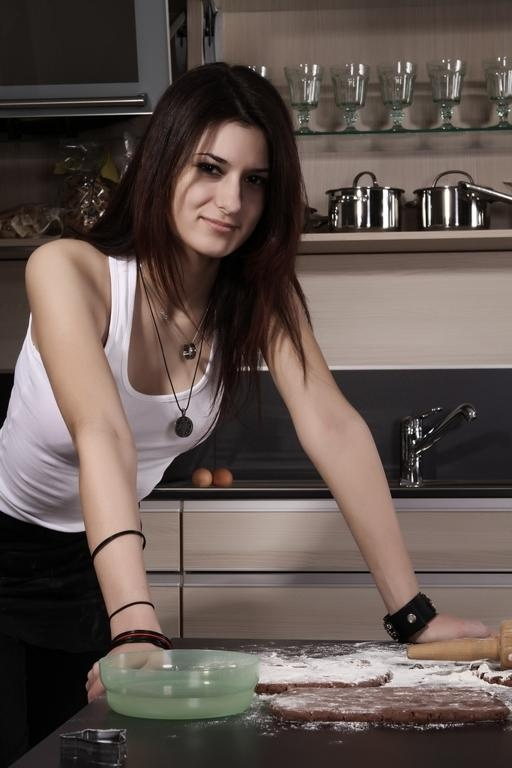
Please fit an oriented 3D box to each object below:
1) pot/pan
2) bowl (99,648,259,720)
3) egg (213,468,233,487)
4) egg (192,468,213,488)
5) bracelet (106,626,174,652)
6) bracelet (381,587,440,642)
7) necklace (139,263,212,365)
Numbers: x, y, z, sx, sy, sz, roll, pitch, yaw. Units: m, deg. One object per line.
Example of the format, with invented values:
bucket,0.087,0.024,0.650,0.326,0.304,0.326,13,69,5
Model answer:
pot/pan,0.481,-0.552,2.275,0.409,0.146,0.236,1,1,2
bowl,-0.055,0.221,0.534,0.079,0.024,0.073,0,-7,0
egg,-0.108,0.295,2.257,0.059,0.053,0.066,6,1,-15
egg,-0.168,0.293,2.232,0.059,0.064,0.058,0,1,9
bracelet,-0.096,0.212,0.587,0.028,0.006,0.027,2,11,-5
bracelet,0.182,0.279,0.835,0.069,0.038,0.053,-36,4,25
necklace,-0.123,-0.109,1.069,0.072,0.131,0.032,3,33,25
